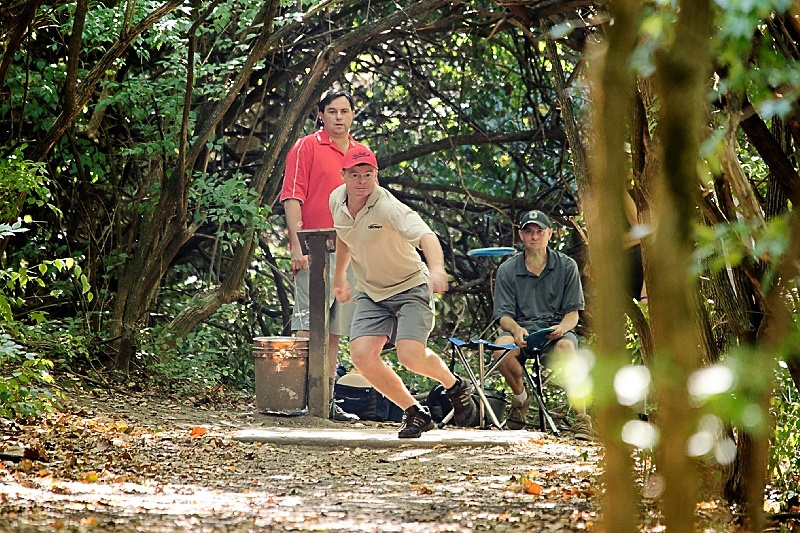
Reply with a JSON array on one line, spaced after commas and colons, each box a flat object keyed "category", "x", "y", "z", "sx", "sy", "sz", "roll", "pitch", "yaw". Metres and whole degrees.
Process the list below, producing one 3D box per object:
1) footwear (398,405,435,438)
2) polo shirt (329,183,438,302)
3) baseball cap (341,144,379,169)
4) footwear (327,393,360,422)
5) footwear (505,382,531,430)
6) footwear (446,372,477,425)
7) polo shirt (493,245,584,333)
[{"category": "footwear", "x": 0.127, "y": 1.150, "z": 8.317, "sx": 0.125, "sy": 0.185, "sz": 0.350, "roll": -11, "pitch": -3, "yaw": 20}, {"category": "polo shirt", "x": -0.184, "y": -0.206, "z": 8.542, "sx": 0.510, "sy": 0.870, "sz": 1.071, "roll": -29, "pitch": 25, "yaw": -37}, {"category": "baseball cap", "x": -0.328, "y": -0.838, "z": 8.498, "sx": 0.246, "sy": 0.201, "sz": 0.302, "roll": 0, "pitch": 2, "yaw": -3}, {"category": "footwear", "x": -0.526, "y": 1.233, "z": 9.521, "sx": 0.366, "sy": 0.250, "sz": 0.122, "roll": -1, "pitch": -2, "yaw": 2}, {"category": "footwear", "x": 1.005, "y": 1.186, "z": 9.581, "sx": 0.145, "sy": 0.409, "sz": 0.150, "roll": 11, "pitch": 0, "yaw": 35}, {"category": "footwear", "x": 0.442, "y": 1.096, "z": 9.011, "sx": 0.190, "sy": 0.236, "sz": 0.581, "roll": -19, "pitch": 23, "yaw": 6}, {"category": "polo shirt", "x": 1.246, "y": 0.184, "z": 9.846, "sx": 0.825, "sy": 0.772, "sz": 0.444, "roll": -3, "pitch": 5, "yaw": 31}]
